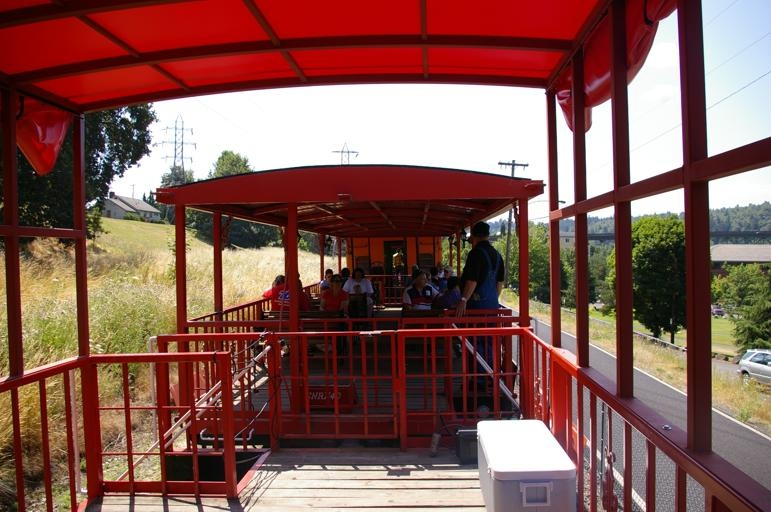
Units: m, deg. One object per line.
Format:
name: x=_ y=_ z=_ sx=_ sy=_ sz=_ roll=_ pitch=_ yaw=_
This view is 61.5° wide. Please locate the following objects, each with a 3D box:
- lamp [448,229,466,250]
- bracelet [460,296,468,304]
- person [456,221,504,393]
lamp: x=2.161 y=-0.535 z=19.969 sx=0.269 sy=0.898 sz=0.428 roll=-4 pitch=9 yaw=-23
bracelet: x=1.168 y=0.654 z=9.718 sx=0.135 sy=0.067 sz=0.188 roll=2 pitch=3 yaw=0
person: x=1.444 y=0.737 z=10.299 sx=0.630 sy=2.573 sz=0.916 roll=4 pitch=5 yaw=44
